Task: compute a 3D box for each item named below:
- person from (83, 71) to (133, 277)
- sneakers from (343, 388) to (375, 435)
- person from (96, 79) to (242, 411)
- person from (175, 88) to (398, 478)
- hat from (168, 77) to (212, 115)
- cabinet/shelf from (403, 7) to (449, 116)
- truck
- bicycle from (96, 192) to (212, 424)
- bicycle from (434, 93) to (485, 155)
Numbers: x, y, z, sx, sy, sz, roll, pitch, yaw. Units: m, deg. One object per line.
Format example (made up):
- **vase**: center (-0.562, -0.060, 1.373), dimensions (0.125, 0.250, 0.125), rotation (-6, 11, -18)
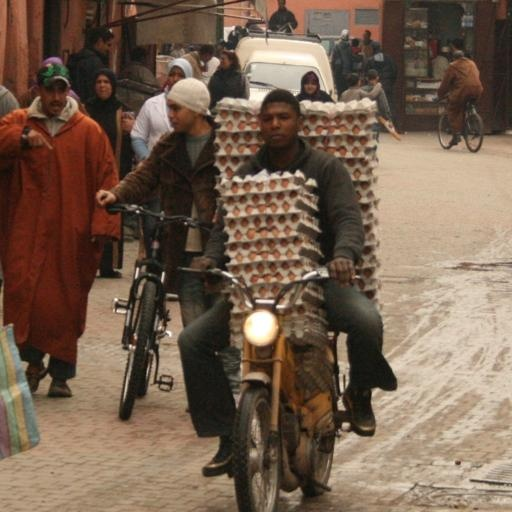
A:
- **person**: center (-1.325, -0.785, 11.046), dimensions (0.577, 1.896, 0.589), rotation (0, 3, 0)
- **sneakers**: center (0.494, 0.738, 5.442), dimensions (0.097, 0.280, 0.169), rotation (-12, -9, -8)
- **person**: center (-0.438, -0.109, 6.793), dimensions (0.705, 1.814, 0.855), rotation (1, 4, 13)
- **person**: center (0.121, 0.081, 5.497), dimensions (0.956, 1.690, 0.851), rotation (-3, 11, 1)
- **hat**: center (-0.396, -0.929, 6.796), dimensions (0.186, 0.208, 0.246), rotation (5, -6, -18)
- **cabinet/shelf**: center (4.304, -5.062, 30.068), dimensions (0.735, 3.330, 0.883), rotation (-10, 24, -10)
- **truck**: center (0.470, -3.131, 18.174), dimensions (1.577, 1.417, 2.728), rotation (1, 1, -1)
- **bicycle**: center (-0.730, 0.199, 7.503), dimensions (0.753, 1.154, 1.925), rotation (7, 15, -6)
- **bicycle**: center (4.534, -2.700, 23.773), dimensions (0.924, 1.155, 1.858), rotation (-2, 4, -25)
